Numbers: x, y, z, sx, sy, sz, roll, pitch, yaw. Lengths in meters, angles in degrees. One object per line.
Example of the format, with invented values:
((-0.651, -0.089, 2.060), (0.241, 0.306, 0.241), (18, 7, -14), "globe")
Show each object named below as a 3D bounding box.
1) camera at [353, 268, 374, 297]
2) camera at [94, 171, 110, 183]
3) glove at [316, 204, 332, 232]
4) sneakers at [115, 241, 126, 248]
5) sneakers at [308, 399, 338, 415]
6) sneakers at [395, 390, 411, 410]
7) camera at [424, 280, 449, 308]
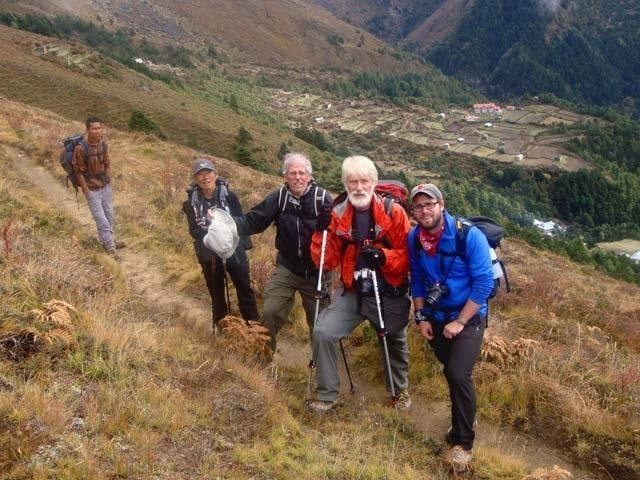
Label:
((0.623, 0.604, 7.997), (0.262, 0.385, 0.166), (-4, -9, 9), "camera")
((-4.397, -1.260, 11.345), (0.233, 0.167, 0.302), (-5, 4, -25), "camera")
((0.063, -0.309, 8.073), (0.220, 0.345, 0.121), (9, -4, 12), "glove")
((-4.273, 0.103, 12.160), (0.141, 0.126, 0.214), (6, 13, -6), "sneakers")
((0.057, 2.325, 7.959), (0.358, 0.169, 0.173), (12, 3, -11), "sneakers")
((1.237, 2.387, 8.468), (0.149, 0.162, 0.364), (-1, 6, 7), "sneakers")
((1.552, 0.733, 7.606), (0.228, 0.345, 0.177), (21, -21, 26), "camera")
